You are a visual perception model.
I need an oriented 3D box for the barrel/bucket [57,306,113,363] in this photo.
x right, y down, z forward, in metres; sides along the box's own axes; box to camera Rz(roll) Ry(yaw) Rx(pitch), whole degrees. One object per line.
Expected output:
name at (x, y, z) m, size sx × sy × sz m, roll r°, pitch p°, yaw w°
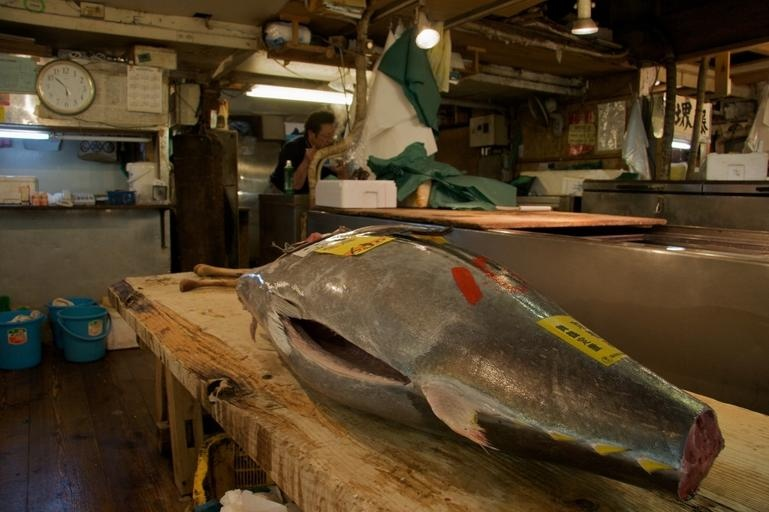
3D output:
barrel/bucket at (-2.665, 0.652, 4.792) m, size 0.494 × 0.402 × 0.483 m, roll 5°, pitch 6°, yaw 0°

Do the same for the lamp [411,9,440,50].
lamp at (0.276, -1.497, 3.519) m, size 0.157 × 0.267 × 0.264 m, roll 3°, pitch 11°, yaw 2°

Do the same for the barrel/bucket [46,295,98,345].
barrel/bucket at (-3.017, 0.603, 5.073) m, size 0.449 × 0.389 × 0.457 m, roll 1°, pitch -4°, yaw 0°

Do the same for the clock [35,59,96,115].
clock at (-3.457, -1.820, 5.761) m, size 0.586 × 0.597 × 0.093 m, roll -14°, pitch 6°, yaw -33°

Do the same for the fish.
fish at (0.179, 0.228, 1.332) m, size 0.954 × 0.310 × 0.638 m, roll 19°, pitch 25°, yaw 36°

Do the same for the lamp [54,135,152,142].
lamp at (-3.274, -1.382, 6.264) m, size 0.987 × 0.065 × 0.268 m, roll -8°, pitch 14°, yaw -43°

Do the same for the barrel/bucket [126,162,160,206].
barrel/bucket at (-2.812, -0.861, 6.255) m, size 0.330 × 0.456 × 0.400 m, roll -3°, pitch 12°, yaw -23°

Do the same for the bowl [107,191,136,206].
bowl at (-2.908, -0.642, 5.948) m, size 0.167 × 0.104 × 0.244 m, roll -1°, pitch -1°, yaw 43°

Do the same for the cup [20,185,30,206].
cup at (-3.721, -0.644, 5.552) m, size 0.114 × 0.196 × 0.077 m, roll -6°, pitch 14°, yaw -33°

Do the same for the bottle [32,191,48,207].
bottle at (-3.576, -0.586, 5.555) m, size 0.161 × 0.151 × 0.163 m, roll -2°, pitch 0°, yaw 43°
